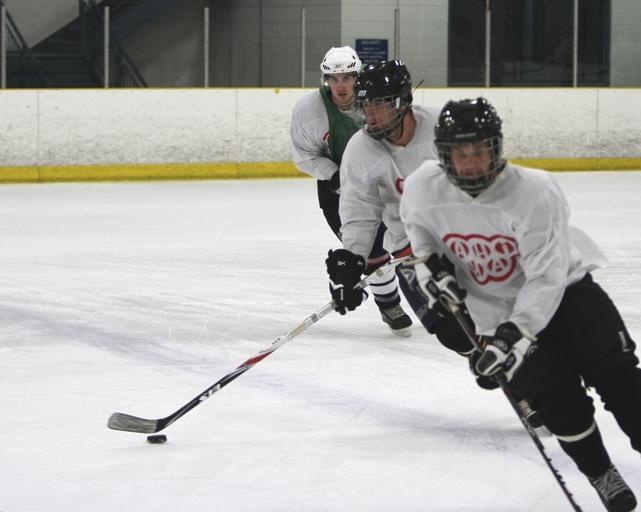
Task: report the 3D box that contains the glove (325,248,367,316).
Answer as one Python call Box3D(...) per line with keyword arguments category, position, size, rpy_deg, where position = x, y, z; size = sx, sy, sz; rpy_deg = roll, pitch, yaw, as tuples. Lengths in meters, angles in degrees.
Box3D(category="glove", position=(0.093, 0.089, 3.876), size=(0.217, 0.207, 0.105), rpy_deg=(-11, -1, -40))

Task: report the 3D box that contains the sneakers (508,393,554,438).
Box3D(category="sneakers", position=(0.672, 0.537, 3.405), size=(0.040, 0.183, 0.051), rpy_deg=(-37, 39, -12))

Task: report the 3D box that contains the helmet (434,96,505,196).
Box3D(category="helmet", position=(0.473, -0.357, 3.274), size=(0.249, 0.269, 0.315), rpy_deg=(-3, 16, 24))

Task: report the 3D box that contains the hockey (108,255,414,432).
Box3D(category="hockey", position=(-0.229, 0.365, 4.183), size=(1.017, 0.131, 0.132), rpy_deg=(-28, 30, -11))

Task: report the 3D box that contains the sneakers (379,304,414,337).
Box3D(category="sneakers", position=(0.324, 0.273, 4.559), size=(0.072, 0.073, 0.197), rpy_deg=(-22, 16, -12))
